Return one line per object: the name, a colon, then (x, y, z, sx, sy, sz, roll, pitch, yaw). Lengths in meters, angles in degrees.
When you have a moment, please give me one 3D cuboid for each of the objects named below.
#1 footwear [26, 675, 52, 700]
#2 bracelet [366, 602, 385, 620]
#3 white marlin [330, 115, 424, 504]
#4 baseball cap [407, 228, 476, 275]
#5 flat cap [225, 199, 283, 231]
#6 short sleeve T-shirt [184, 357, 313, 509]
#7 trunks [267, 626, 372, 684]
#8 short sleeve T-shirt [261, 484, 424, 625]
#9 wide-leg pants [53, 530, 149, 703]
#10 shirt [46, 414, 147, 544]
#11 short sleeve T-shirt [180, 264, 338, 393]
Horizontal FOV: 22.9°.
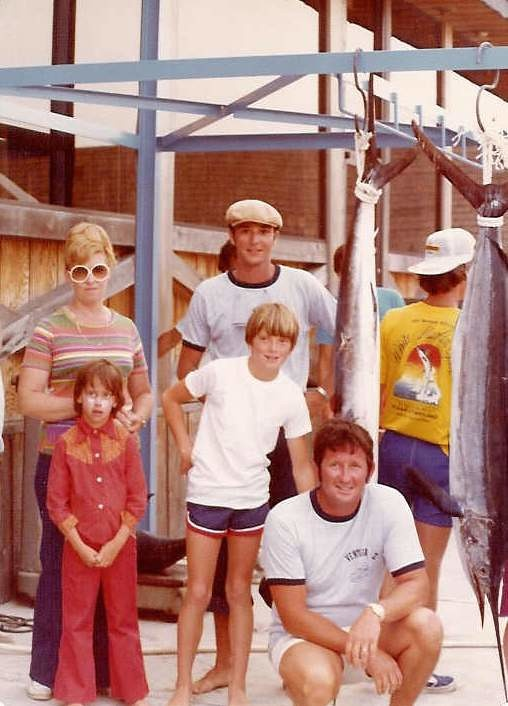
footwear: (-0.766, 1.183, 4.439, 0.074, 0.073, 0.071, 8, -6, -43)
bracelet: (0.383, 0.809, 3.919, 0.013, 0.048, 0.049, -37, -49, 27)
white marlin: (0.370, -0.147, 3.778, 0.173, 0.951, 0.202, -4, 6, -22)
baseball cap: (0.674, -0.359, 4.342, 0.285, 0.136, 0.205, -10, 10, -27)
flat cap: (-0.002, -0.510, 4.626, 0.194, 0.107, 0.210, 2, 3, -5)
short sleeve T-shirt: (-0.014, 0.279, 4.352, 0.435, 0.454, 0.215, 14, 12, -5)
trunks: (0.179, 0.974, 4.034, 0.200, 0.109, 0.255, 7, -4, -19)
short sleeve T-shirt: (0.283, 0.683, 4.113, 0.508, 0.488, 0.288, -5, 21, -7)
wide-leg pants: (-0.537, 0.943, 4.365, 0.335, 0.601, 0.194, 0, 4, -27)
shirt: (-0.546, 0.449, 4.357, 0.329, 0.457, 0.140, -2, 21, -7)
short sleeve T-shirt: (0.016, -0.081, 4.635, 0.618, 0.513, 0.243, 0, 7, -3)
